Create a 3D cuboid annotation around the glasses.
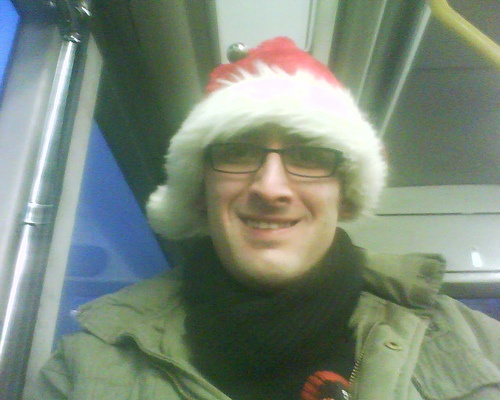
[{"bbox_3d":[0.060,-0.087,1.198,0.312,0.079,0.046,1,36,6],"label":"glasses"}]
